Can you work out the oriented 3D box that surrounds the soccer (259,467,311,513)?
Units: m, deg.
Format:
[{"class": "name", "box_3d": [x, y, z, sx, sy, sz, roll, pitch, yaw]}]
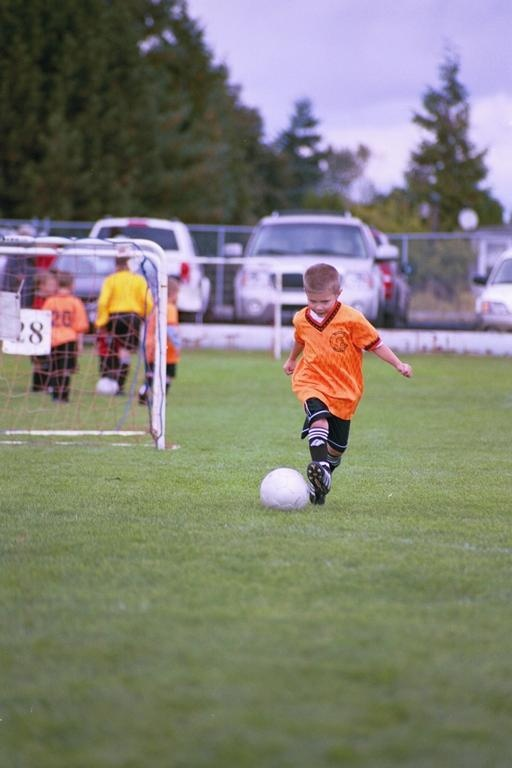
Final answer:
[{"class": "soccer", "box_3d": [0.111, 0.417, 6.107, 0.168, 0.170, 0.173, -12, 34, 7]}]

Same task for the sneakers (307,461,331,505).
[{"class": "sneakers", "box_3d": [0.241, 0.409, 6.081, 0.066, 0.188, 0.084, 5, 28, 14]}]

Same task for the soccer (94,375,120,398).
[{"class": "soccer", "box_3d": [-0.928, 0.034, 9.633, 0.130, 0.091, 0.159, 1, 2, -8]}]
